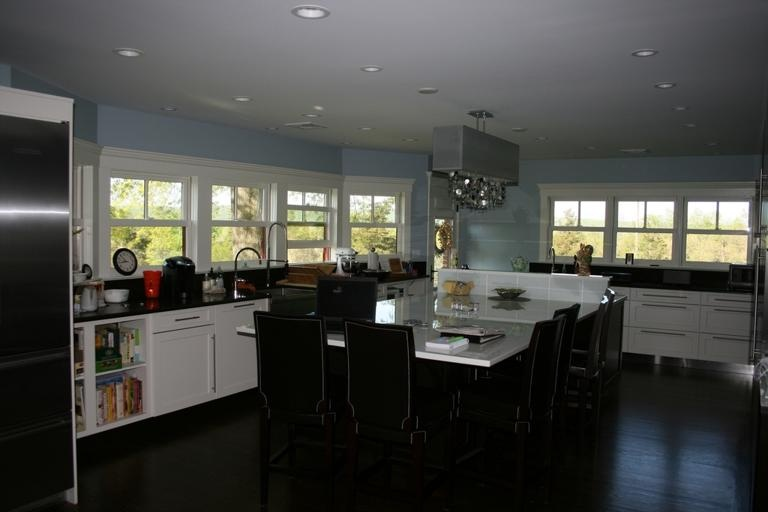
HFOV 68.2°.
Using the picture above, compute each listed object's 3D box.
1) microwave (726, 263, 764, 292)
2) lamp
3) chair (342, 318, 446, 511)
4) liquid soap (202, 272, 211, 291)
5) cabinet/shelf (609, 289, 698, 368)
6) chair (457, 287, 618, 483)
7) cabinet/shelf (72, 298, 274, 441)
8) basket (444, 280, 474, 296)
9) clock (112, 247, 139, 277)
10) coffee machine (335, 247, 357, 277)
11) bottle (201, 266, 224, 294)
[{"bbox_3d":[4.406,0.272,6.883,0.453,0.370,0.240,1,1,19],"label":"microwave"},{"bbox_3d":[0.981,-0.998,5.776,0.308,0.800,1.082,2,2,30],"label":"lamp"},{"bbox_3d":[0.099,1.115,4.178,0.725,1.377,0.840,1,3,6],"label":"chair"},{"bbox_3d":[-2.006,0.294,6.352,0.097,0.181,0.242,-1,3,-21],"label":"liquid soap"},{"bbox_3d":[3.968,0.920,7.969,1.109,0.974,0.627,2,6,40],"label":"cabinet/shelf"},{"bbox_3d":[1.281,1.133,4.719,0.635,0.945,1.515,2,2,33],"label":"chair"},{"bbox_3d":[-2.064,1.075,5.286,0.369,0.670,1.411,0,1,34],"label":"cabinet/shelf"},{"bbox_3d":[0.867,0.370,6.603,0.257,0.114,0.180,1,1,16],"label":"basket"},{"bbox_3d":[-2.783,0.066,6.032,0.242,0.288,0.124,-1,3,-32],"label":"clock"},{"bbox_3d":[-0.548,0.077,7.892,0.366,0.392,0.272,-1,0,8],"label":"coffee machine"},{"bbox_3d":[-1.963,0.277,6.383,0.270,0.350,0.266,0,3,0],"label":"bottle"}]
